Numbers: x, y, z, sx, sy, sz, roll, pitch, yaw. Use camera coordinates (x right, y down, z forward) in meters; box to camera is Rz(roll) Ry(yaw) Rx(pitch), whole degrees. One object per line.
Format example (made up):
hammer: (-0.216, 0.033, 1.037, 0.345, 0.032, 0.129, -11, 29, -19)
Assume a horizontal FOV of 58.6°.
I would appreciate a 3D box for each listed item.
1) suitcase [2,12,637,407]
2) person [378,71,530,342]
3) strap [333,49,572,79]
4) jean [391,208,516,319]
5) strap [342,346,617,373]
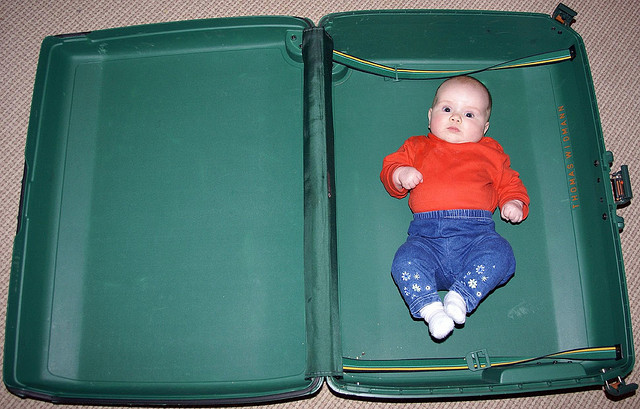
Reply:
suitcase: (-0.004, -0.003, 1.991, 2.089, 0.629, 1.328, 3, 63, -3)
person: (0.468, 0.009, 1.926, 0.506, 0.305, 0.881, 3, 74, 13)
strap: (0.496, -0.524, 2.138, 0.904, 0.113, 0.091, 1, 78, 4)
jean: (0.439, 0.171, 1.907, 0.397, 0.167, 0.425, -20, 44, 5)
strap: (0.514, 0.520, 1.923, 0.632, 0.062, 0.069, 0, 26, 1)
